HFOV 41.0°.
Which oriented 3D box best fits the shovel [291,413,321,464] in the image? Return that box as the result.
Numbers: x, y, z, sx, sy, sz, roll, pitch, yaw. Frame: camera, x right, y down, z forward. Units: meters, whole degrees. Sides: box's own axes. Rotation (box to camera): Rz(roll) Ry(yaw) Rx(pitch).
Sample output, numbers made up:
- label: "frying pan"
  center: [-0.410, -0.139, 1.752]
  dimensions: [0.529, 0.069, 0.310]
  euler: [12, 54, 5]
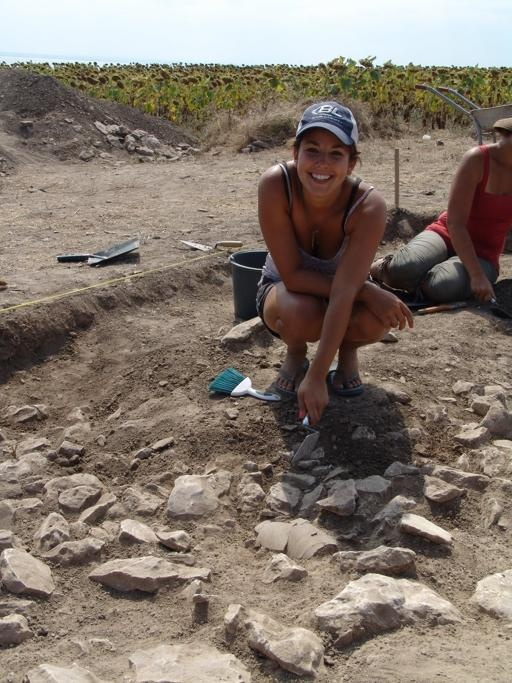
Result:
- label: "shovel"
  center: [0.161, 0.311, 2.217]
  dimensions: [0.159, 0.130, 0.057]
  euler: [-4, 9, -28]

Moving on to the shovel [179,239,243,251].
- label: "shovel"
  center: [-0.328, -0.630, 4.509]
  dimensions: [0.519, 0.076, 0.258]
  euler: [10, 13, 41]

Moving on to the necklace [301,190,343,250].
- label: "necklace"
  center: [0.201, -0.384, 2.231]
  dimensions: [0.117, 0.158, 0.128]
  euler: [4, 17, 12]

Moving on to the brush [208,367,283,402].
- label: "brush"
  center: [-0.043, 0.138, 2.556]
  dimensions: [0.289, 0.091, 0.391]
  euler: [-1, 11, -23]

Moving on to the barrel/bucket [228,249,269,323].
- label: "barrel/bucket"
  center: [-0.052, -0.277, 3.343]
  dimensions: [0.346, 0.304, 0.318]
  euler: [0, 29, 0]

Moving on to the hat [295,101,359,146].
- label: "hat"
  center: [0.215, -0.653, 2.042]
  dimensions: [0.196, 0.117, 0.245]
  euler: [11, 12, 8]

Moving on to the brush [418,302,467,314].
- label: "brush"
  center: [0.882, -0.158, 3.225]
  dimensions: [0.180, 0.031, 0.038]
  euler: [-10, 22, 2]

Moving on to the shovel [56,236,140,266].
- label: "shovel"
  center: [-0.897, -0.585, 4.278]
  dimensions: [0.583, 0.166, 0.459]
  euler: [3, 18, 2]
